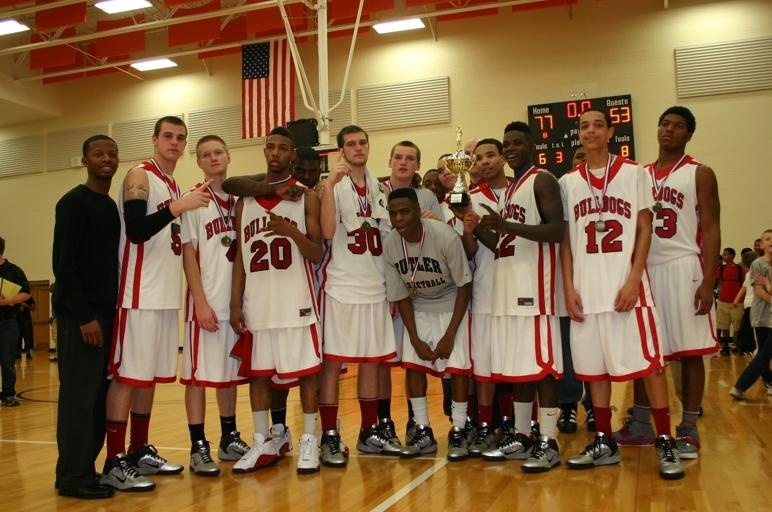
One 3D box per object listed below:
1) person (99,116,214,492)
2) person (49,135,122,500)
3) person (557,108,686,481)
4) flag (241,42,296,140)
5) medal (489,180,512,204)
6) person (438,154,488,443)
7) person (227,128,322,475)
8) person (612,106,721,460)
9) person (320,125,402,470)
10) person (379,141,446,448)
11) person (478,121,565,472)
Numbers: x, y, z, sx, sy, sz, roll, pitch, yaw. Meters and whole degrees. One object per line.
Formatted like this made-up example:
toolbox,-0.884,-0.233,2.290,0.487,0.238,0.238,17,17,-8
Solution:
person,-2.065,0.401,5.741,1.125,3.378,1.121,0,-5,-19
person,-2.715,0.489,5.373,0.561,3.282,0.447,0,-4,-30
person,2.084,0.302,5.416,0.924,3.299,0.391,-3,-4,25
flag,-2.865,-4.063,14.293,1.295,2.412,0.386,-2,-3,9
medal,1.128,-0.624,5.872,0.173,0.229,0.125,-17,-28,33
person,0.794,0.320,6.118,0.700,2.628,0.466,-2,0,-18
person,-0.988,0.430,6.024,1.046,3.176,0.933,-1,0,0
person,2.864,0.265,6.250,1.057,3.307,1.077,-1,0,25
person,-0.323,0.359,6.004,0.902,3.137,1.006,-1,0,25
person,0.223,0.284,6.475,1.055,2.824,1.044,-1,0,-2
person,1.296,0.323,5.603,0.812,3.278,0.599,-2,-3,2
